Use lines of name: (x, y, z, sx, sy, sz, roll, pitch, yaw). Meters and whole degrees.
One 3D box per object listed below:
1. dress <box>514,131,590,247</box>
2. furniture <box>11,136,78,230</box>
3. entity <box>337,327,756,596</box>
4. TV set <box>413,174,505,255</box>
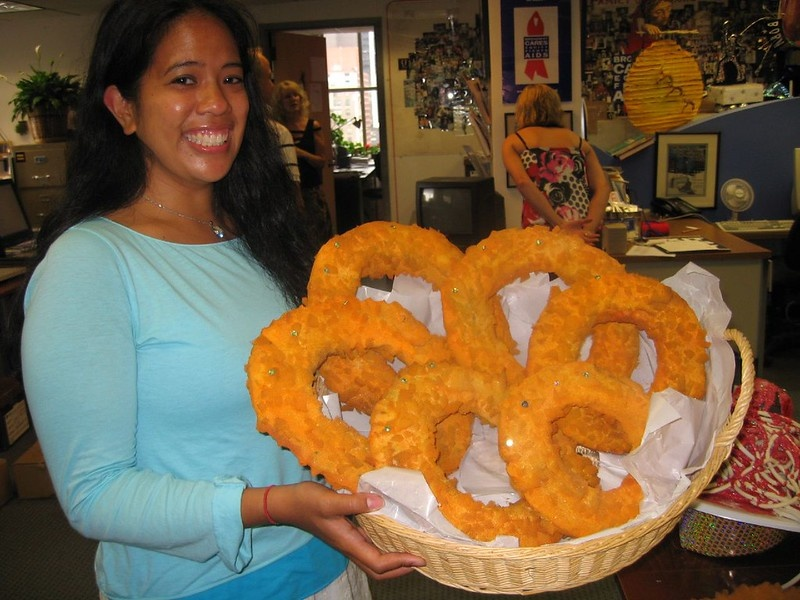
dress: (0.983, -0.763, 3.756, 0.467, 0.604, 0.332, -6, 3, -10)
furniture: (-3.126, -0.933, 5.242, 0.467, 0.785, 0.554, -1, 10, 0)
entity: (0.245, 0.277, 1.008, 0.525, 0.171, 0.491, -7, 8, -28)
TV set: (0.444, -0.618, 4.457, 0.710, 0.710, 0.720, 0, 19, 14)
